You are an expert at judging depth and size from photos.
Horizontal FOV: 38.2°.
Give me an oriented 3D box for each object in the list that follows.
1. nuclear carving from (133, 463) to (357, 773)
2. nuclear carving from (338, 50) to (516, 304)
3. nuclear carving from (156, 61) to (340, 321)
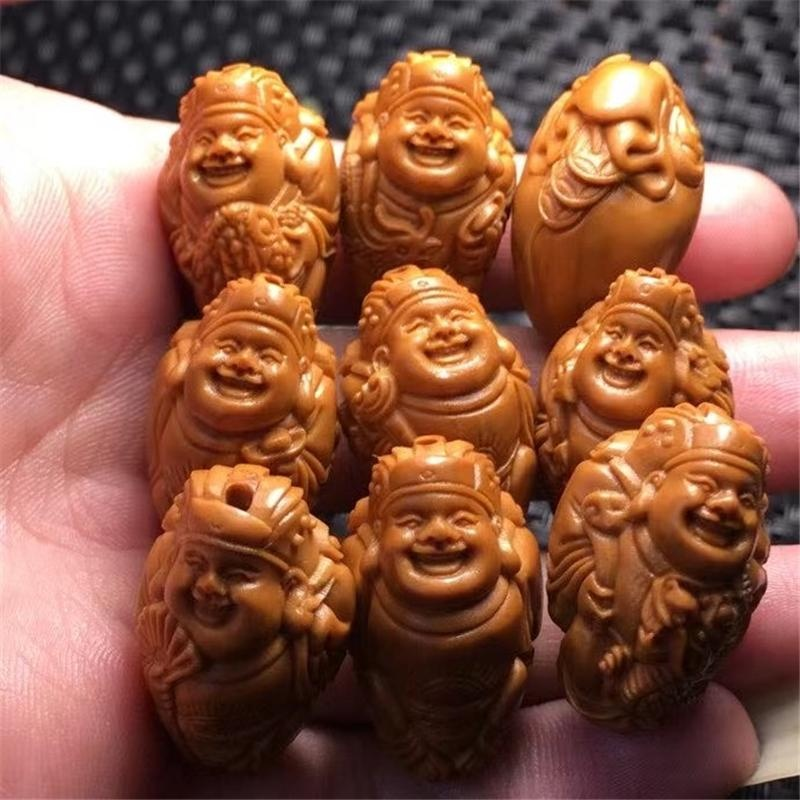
[{"bbox_3d":[-0.258,0.370,1.901,0.350,0.589,0.309,5,16,4],"label":"nuclear carving"},{"bbox_3d":[0.055,-0.429,2.451,0.340,0.583,0.302,5,12,-13],"label":"nuclear carving"},{"bbox_3d":[-0.312,-0.366,2.358,0.349,0.320,0.607,-8,72,14],"label":"nuclear carving"}]
